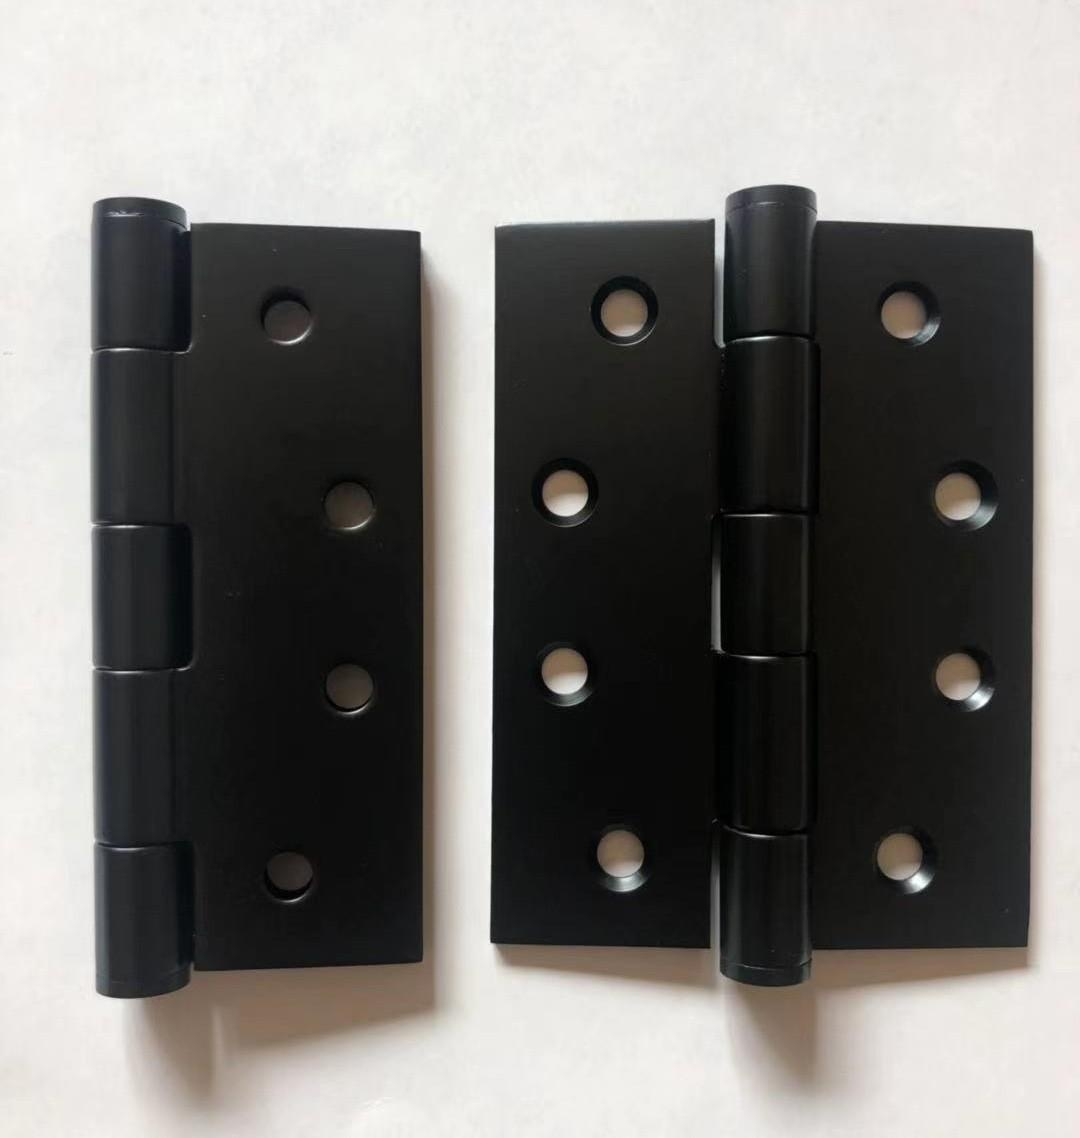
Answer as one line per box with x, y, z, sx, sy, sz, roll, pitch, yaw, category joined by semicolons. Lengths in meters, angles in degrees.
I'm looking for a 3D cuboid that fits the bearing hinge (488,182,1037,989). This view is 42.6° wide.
0.203;0.016;1.261;0.573;0.128;1.011;0;-90;2;bearing hinge
